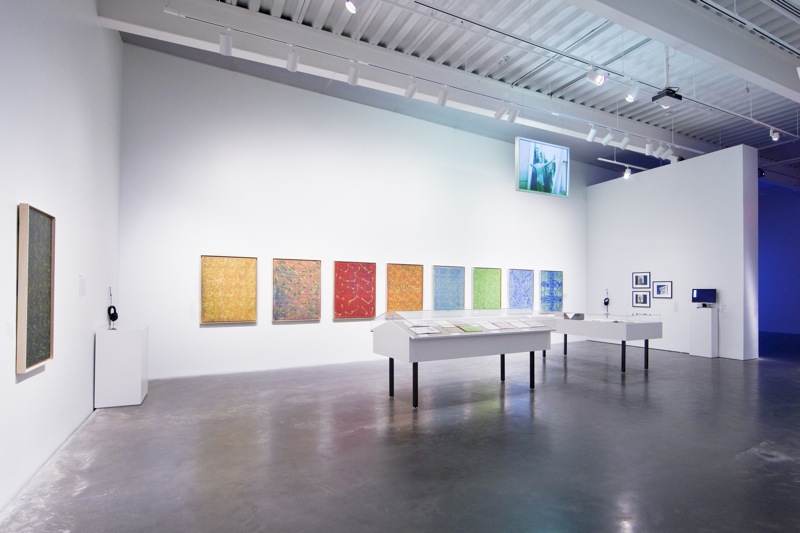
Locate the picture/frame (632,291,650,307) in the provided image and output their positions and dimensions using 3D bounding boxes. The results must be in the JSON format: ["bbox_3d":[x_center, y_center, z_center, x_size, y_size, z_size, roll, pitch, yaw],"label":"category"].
[{"bbox_3d":[6.529,0.864,13.626,0.022,0.444,0.433,8,-6,-22],"label":"picture/frame"}]

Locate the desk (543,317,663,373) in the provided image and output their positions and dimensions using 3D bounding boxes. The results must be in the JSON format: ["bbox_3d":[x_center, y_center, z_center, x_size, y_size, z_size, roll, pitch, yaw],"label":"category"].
[{"bbox_3d":[4.325,1.525,10.575,1.978,1.111,1.039,6,11,29],"label":"desk"}]

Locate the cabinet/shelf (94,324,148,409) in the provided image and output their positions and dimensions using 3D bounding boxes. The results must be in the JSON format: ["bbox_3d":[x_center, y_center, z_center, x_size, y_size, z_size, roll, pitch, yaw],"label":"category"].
[{"bbox_3d":[-4.612,1.582,8.632,0.925,1.707,1.818,0,-4,-27],"label":"cabinet/shelf"}]

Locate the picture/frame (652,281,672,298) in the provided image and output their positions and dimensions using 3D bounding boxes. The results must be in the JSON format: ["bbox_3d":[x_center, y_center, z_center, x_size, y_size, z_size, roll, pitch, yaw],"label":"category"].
[{"bbox_3d":[6.868,0.593,13.167,0.031,0.406,0.414,8,-7,-21],"label":"picture/frame"}]

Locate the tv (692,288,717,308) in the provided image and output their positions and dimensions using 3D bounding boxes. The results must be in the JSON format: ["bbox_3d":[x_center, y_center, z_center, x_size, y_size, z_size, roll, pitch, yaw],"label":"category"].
[{"bbox_3d":[7.341,0.747,12.122,0.110,0.364,0.407,21,-21,-34],"label":"tv"}]

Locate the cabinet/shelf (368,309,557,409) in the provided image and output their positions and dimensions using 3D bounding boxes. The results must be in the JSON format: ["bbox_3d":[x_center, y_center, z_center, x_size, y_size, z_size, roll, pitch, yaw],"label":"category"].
[{"bbox_3d":[1.078,1.439,8.701,2.743,1.480,0.942,-3,10,-20],"label":"cabinet/shelf"}]
